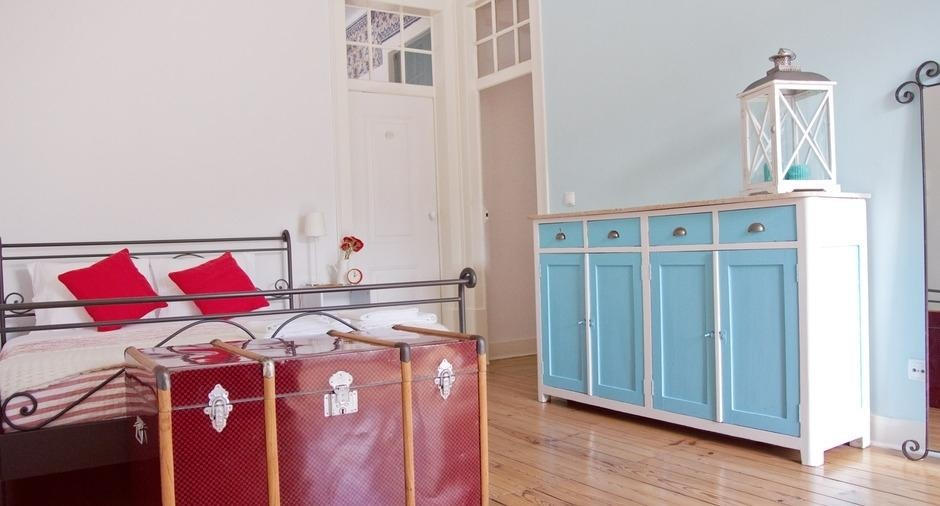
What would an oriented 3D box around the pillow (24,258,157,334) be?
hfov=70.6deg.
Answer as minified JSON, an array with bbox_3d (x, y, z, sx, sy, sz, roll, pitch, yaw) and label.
[{"bbox_3d":[-3.248,0.414,5.370,0.950,0.534,0.246,-7,-31,-13],"label":"pillow"}]

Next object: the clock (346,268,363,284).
[{"bbox_3d":[-1.101,0.225,6.352,0.174,0.143,0.038,-2,-3,-25],"label":"clock"}]
